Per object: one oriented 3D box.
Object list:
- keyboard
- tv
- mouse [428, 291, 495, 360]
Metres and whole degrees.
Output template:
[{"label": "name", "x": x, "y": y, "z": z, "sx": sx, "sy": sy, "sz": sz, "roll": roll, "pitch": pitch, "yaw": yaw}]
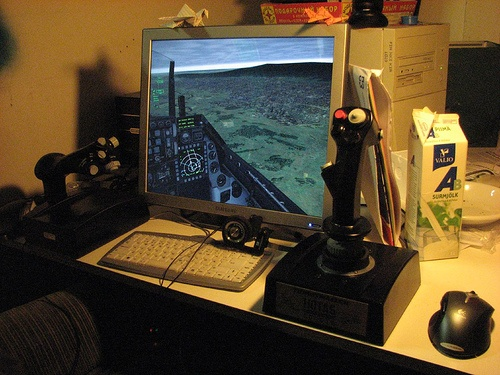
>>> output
[{"label": "keyboard", "x": -0.175, "y": 0.195, "z": 1.071, "sx": 0.444, "sy": 0.050, "sz": 0.173, "roll": 4, "pitch": 25, "yaw": 20}, {"label": "tv", "x": -0.008, "y": -0.183, "z": 1.115, "sx": 0.624, "sy": 0.527, "sz": 0.066, "roll": 5, "pitch": 7, "yaw": 22}, {"label": "mouse", "x": 0.444, "y": 0.263, "z": 0.817, "sx": 0.100, "sy": 0.047, "sz": 0.135, "roll": 12, "pitch": 46, "yaw": 29}]
